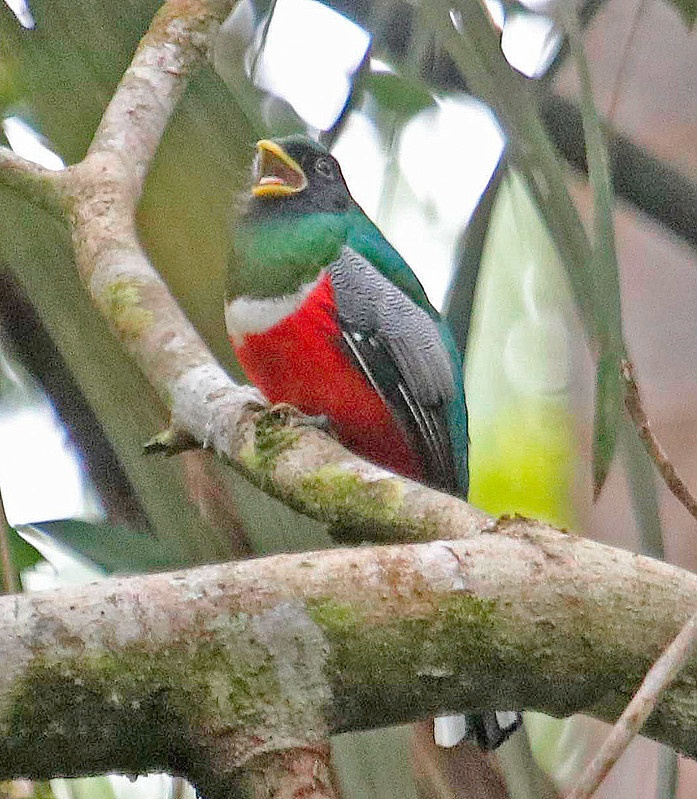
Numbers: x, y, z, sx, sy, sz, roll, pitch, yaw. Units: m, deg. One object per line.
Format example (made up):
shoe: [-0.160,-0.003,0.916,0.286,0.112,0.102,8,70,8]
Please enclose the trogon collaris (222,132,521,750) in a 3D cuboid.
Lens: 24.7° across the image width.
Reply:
trogon collaris: [0.012,-0.183,4.057,0.654,1.006,0.492,-9,8,-17]
